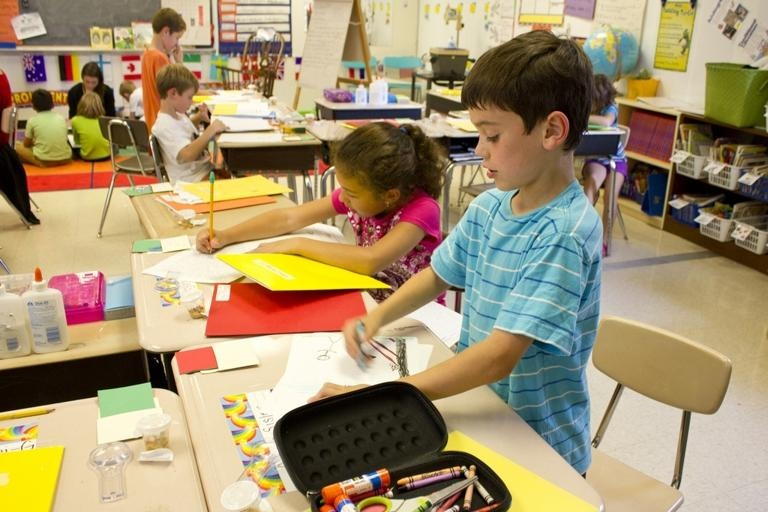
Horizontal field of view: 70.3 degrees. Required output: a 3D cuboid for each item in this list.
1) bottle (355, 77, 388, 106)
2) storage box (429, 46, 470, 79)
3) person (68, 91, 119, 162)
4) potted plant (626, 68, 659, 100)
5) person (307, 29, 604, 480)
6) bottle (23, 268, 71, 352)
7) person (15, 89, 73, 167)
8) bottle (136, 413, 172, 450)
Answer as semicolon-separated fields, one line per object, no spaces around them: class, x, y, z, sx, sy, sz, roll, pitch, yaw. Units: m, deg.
bottle;-0.098;-1.354;4.547;0.305;0.250;0.169;0;18;-8
storage box;0.688;-2.161;6.231;0.409;0.396;0.643;-3;20;-10
person;-3.244;-1.600;6.026;0.426;0.995;0.275;-6;34;-32
potted plant;2.298;-1.537;4.869;0.238;0.286;0.290;3;16;11
person;0.257;0.063;1.341;0.631;1.130;0.435;5;24;14
bottle;-1.020;0.165;1.629;0.109;0.280;0.085;-17;28;-34
person;-3.598;-1.333;5.720;0.687;0.783;0.549;-7;21;-35
bottle;-0.515;0.397;1.225;0.074;0.059;0.072;0;7;0
